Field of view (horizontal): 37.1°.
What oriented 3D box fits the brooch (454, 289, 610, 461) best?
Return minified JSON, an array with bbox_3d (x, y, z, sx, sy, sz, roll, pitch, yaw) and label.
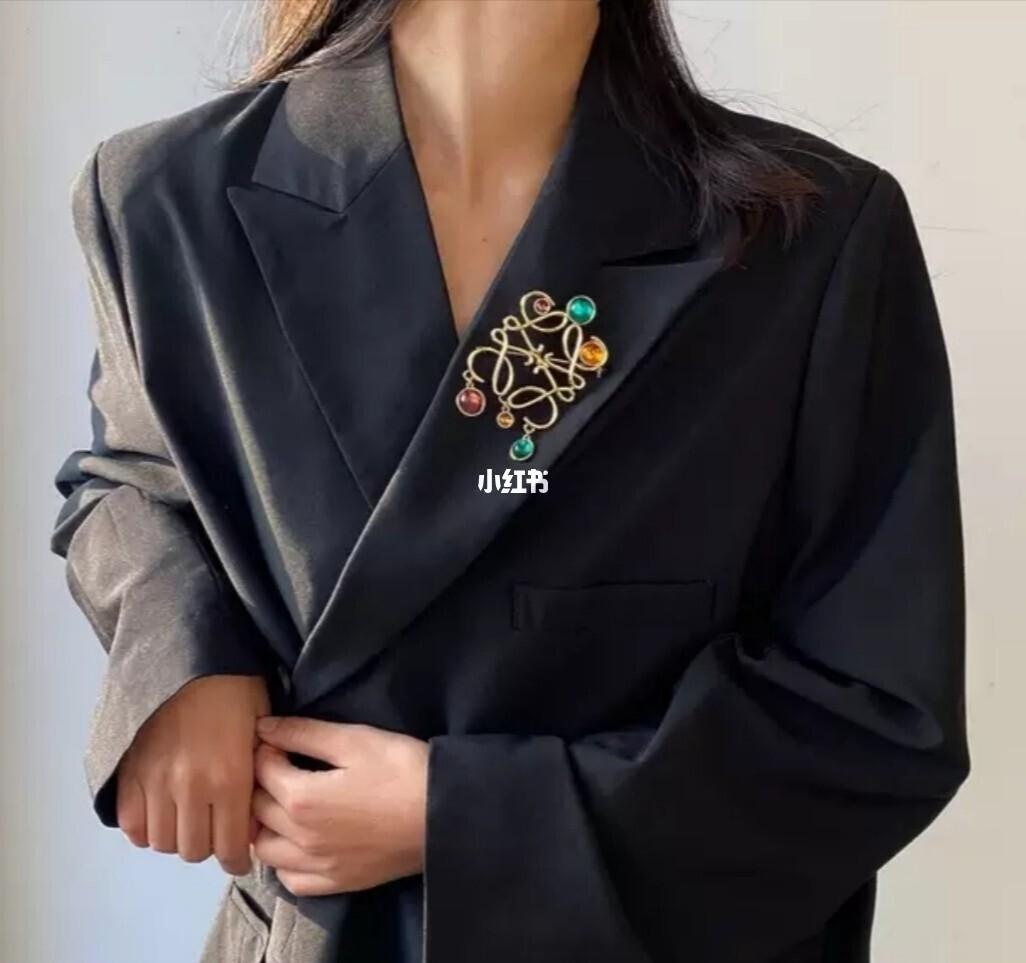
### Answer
[{"bbox_3d":[0.012,-0.093,1.256,0.105,0.141,0.015,41,-8,-1],"label":"brooch"}]
